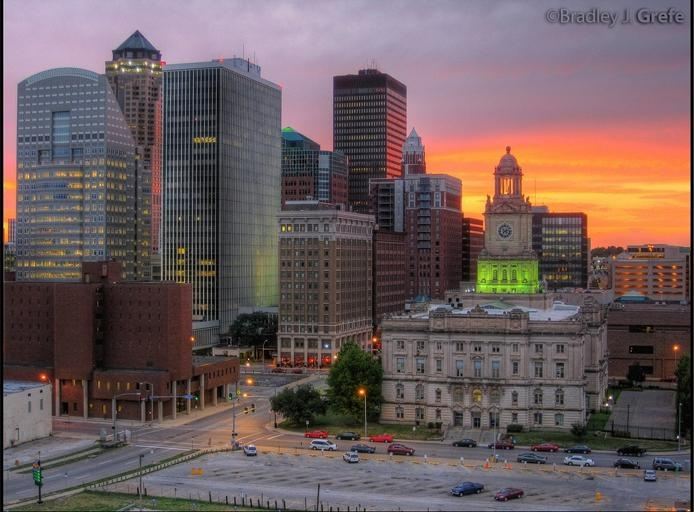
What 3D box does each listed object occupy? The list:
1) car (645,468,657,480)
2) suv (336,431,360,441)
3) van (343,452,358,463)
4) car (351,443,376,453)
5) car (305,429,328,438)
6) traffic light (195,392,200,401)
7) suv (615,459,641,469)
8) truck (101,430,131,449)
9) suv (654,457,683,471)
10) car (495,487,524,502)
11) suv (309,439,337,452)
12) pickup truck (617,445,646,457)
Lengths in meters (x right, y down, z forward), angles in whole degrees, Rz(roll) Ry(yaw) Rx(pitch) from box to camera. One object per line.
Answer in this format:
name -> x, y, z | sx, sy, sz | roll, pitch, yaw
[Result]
car -> 53.754, 39.388, 293.165 | 2.145, 1.308, 4.679 | 2, 11, 10
suv -> 0.221, 35.000, 314.318 | 3.268, 1.035, 1.849 | 4, -1, 8
van -> 0.716, 37.378, 301.126 | 2.614, 1.703, 2.058 | 10, 15, 44
car -> 3.023, 36.516, 306.766 | 3.162, 1.038, 1.918 | -1, 4, 5
car -> -5.808, 34.717, 316.128 | 3.182, 1.022, 1.807 | 0, -1, 14
traffic light -> -30.783, 29.728, 339.905 | 1.099, 2.027, 1.102 | 0, -2, 10
suv -> 50.317, 38.237, 298.079 | 3.340, 1.068, 1.832 | -3, 6, 9
truck -> -44.387, 35.282, 315.904 | 5.927, 1.758, 10.707 | -1, 11, -3
suv -> 57.358, 38.189, 296.934 | 3.992, 1.779, 2.263 | -2, 3, 7
car -> 28.038, 41.891, 284.804 | 4.571, 1.501, 2.087 | 0, 0, -17
suv -> -4.484, 36.035, 308.678 | 3.891, 1.514, 2.230 | -2, 2, 12
pickup truck -> 52.401, 36.606, 304.266 | 3.926, 1.385, 2.256 | -3, 1, 13
